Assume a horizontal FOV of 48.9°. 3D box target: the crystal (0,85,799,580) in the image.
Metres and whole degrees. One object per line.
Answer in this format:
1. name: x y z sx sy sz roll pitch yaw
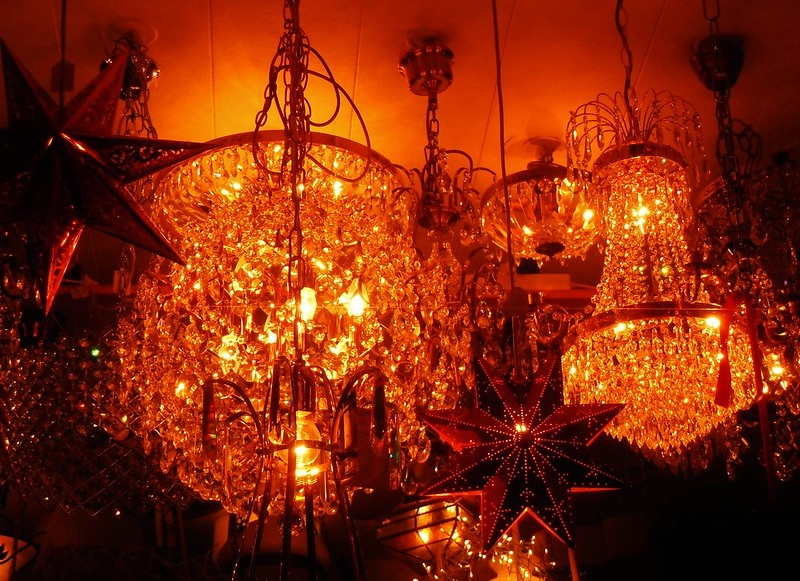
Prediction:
1. crystal: -0.246 0.172 2.486 1.785 1.021 0.739 9 -28 -9
